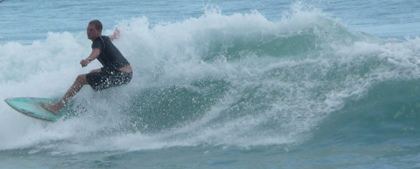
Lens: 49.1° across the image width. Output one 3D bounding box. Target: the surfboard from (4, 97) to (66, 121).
[{"bbox_3d":[-9.179,1.130,23.510,3.902,0.425,1.010,16,35,11],"label":"surfboard"}]
